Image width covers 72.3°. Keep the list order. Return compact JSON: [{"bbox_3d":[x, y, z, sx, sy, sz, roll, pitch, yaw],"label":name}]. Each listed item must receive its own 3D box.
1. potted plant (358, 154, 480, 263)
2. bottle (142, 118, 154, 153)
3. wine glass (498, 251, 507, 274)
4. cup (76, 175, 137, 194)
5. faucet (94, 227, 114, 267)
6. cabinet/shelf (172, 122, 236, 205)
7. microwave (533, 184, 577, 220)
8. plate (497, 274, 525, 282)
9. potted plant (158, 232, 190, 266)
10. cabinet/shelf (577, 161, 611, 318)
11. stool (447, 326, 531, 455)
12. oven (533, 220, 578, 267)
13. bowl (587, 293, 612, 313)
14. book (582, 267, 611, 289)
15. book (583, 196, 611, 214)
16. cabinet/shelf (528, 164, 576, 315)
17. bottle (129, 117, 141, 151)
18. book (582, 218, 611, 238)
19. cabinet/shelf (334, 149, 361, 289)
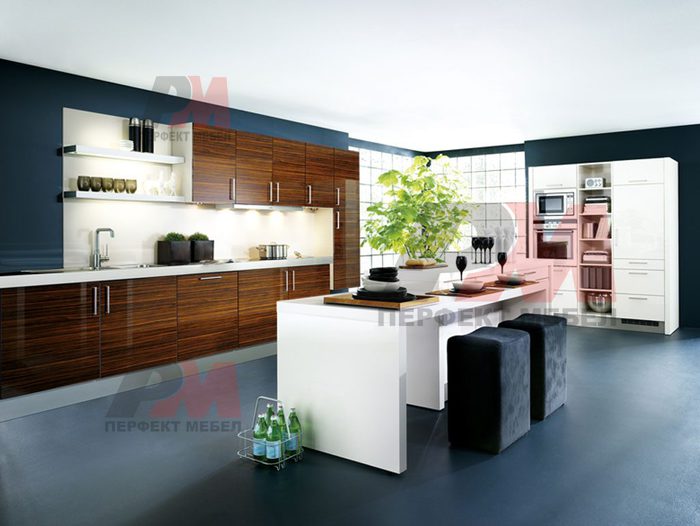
[{"bbox_3d":[0.679,-0.502,4.467,0.869,1.052,0.564,-3,6,-27],"label":"potted plant"},{"bbox_3d":[-2.331,-1.460,5.500,0.128,0.367,0.085,-3,6,-27],"label":"bottle"},{"bbox_3d":[1.490,-0.011,4.712,0.071,0.219,0.445,1,6,17],"label":"wine glass"},{"bbox_3d":[-2.646,-0.860,5.232,0.589,0.169,0.216,-4,7,-31],"label":"cup"},{"bbox_3d":[-2.702,-0.178,5.245,0.224,0.427,0.313,-3,6,-26],"label":"faucet"},{"bbox_3d":[-1.759,-1.212,5.835,0.747,0.920,0.336,-2,6,-20],"label":"cabinet/shelf"},{"bbox_3d":[3.400,-1.007,7.930,0.733,0.534,0.424,0,-2,42],"label":"microwave"},{"bbox_3d":[1.506,0.133,4.497,0.228,0.074,0.160,-3,6,-28],"label":"plate"},{"bbox_3d":[-2.179,-0.170,5.767,0.367,0.551,0.370,0,1,-39],"label":"potted plant"},{"bbox_3d":[3.999,-0.591,7.822,0.574,2.090,0.569,22,-24,-25],"label":"cabinet/shelf"},{"bbox_3d":[1.030,0.975,3.572,0.573,1.108,0.801,-2,-1,35],"label":"stool"},{"bbox_3d":[3.538,-0.391,8.148,0.749,0.789,0.548,1,5,33],"label":"oven"},{"bbox_3d":[4.017,0.630,7.720,0.312,0.197,0.288,0,-4,0],"label":"bowl"},{"bbox_3d":[4.016,0.208,7.791,0.316,0.437,0.430,-3,3,-37],"label":"book"},{"bbox_3d":[3.985,-0.936,7.720,0.384,0.270,0.255,2,6,26],"label":"book"},{"bbox_3d":[3.399,-0.394,7.992,0.823,2.439,0.282,2,6,25],"label":"cabinet/shelf"},{"bbox_3d":[-2.451,-1.479,5.462,0.124,0.401,0.141,3,7,35],"label":"bottle"},{"bbox_3d":[4.013,-0.551,7.762,0.303,0.421,0.425,3,3,31],"label":"book"},{"bbox_3d":[-0.040,-0.686,7.430,0.205,2.107,0.798,3,6,30],"label":"cabinet/shelf"}]
